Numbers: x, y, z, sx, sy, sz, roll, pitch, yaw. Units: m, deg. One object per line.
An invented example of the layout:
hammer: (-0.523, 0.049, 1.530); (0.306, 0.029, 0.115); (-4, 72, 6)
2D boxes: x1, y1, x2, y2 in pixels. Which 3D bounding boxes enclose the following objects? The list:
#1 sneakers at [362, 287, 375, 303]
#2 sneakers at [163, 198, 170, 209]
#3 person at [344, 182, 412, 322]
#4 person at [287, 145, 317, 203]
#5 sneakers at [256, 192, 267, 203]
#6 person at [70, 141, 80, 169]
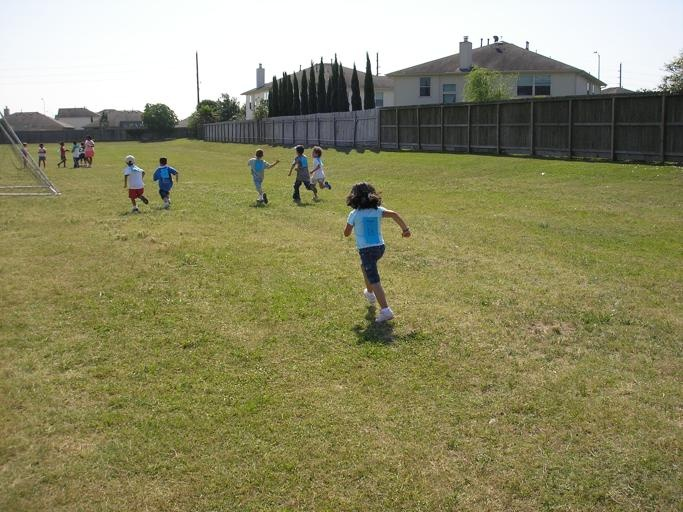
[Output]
sneakers: (0.381, 0.558, 8.681); (0.083, 0.116, 0.248); (-2, 15, -11)
sneakers: (-4.197, -1.295, 14.779); (0.111, 0.228, 0.403); (0, 15, -14)
person: (0.447, -0.149, 8.405); (0.800, 1.821, 1.097); (-2, 13, 0)
person: (-1.008, -2.181, 15.918); (0.714, 1.458, 2.050); (-2, 14, -4)
sneakers: (-1.999, -1.449, 15.355); (0.170, 0.173, 0.424); (14, 3, -22)
person: (-12.467, -4.793, 28.781); (0.358, 1.181, 2.041); (-7, 15, -23)
